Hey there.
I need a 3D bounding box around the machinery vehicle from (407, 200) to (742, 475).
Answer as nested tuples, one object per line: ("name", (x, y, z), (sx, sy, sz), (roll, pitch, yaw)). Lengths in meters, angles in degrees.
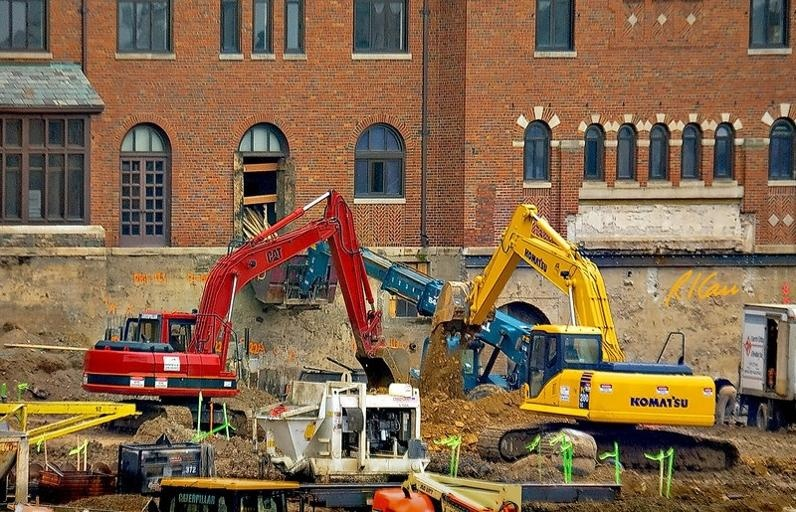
("machinery vehicle", (4.932, 3.073, 54.831), (10.799, 9.131, 4.836), (0, -4, 27))
